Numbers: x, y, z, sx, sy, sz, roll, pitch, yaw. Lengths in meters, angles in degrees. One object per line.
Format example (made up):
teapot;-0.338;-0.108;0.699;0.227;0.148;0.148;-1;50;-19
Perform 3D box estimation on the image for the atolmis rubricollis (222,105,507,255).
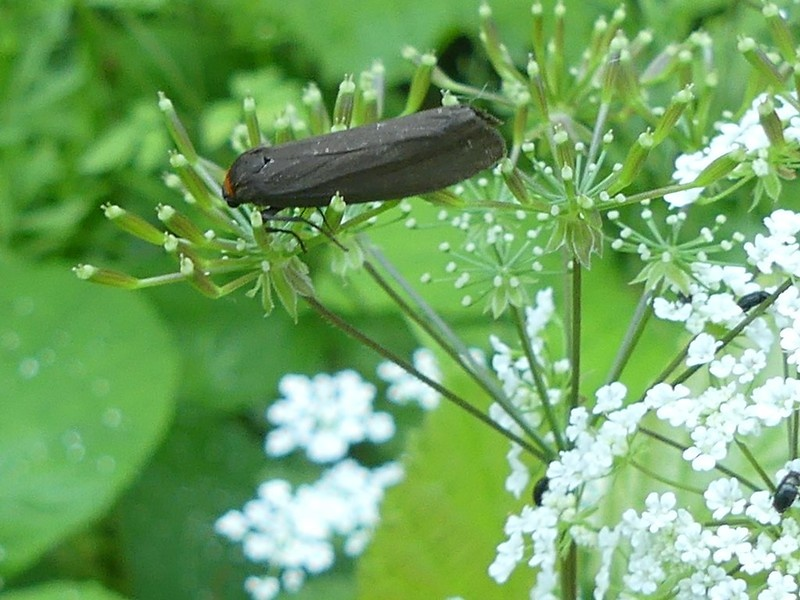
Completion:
atolmis rubricollis;-0.042;-0.170;1.106;0.281;0.090;0.196;-14;37;12
